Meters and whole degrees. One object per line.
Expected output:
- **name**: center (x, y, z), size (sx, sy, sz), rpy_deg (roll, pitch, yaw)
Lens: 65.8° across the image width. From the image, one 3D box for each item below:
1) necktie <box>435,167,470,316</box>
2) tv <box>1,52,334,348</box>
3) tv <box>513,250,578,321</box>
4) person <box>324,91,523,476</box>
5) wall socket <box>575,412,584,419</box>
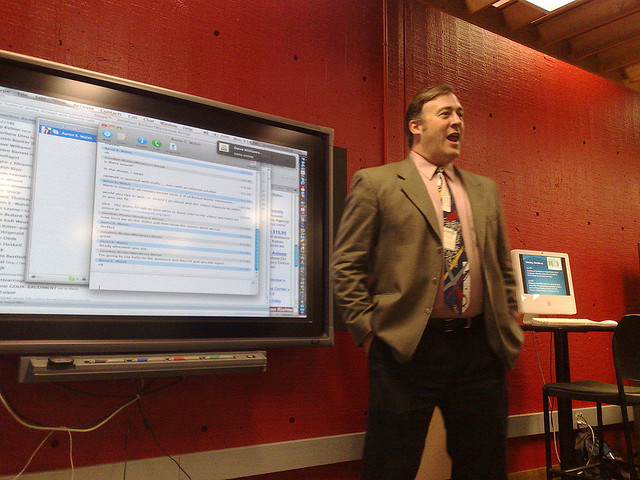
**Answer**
- **necktie**: center (0.548, -0.008, 2.038), size (0.111, 0.620, 0.171), rpy_deg (-3, -7, 13)
- **tv**: center (-0.702, -0.132, 2.174), size (1.573, 0.936, 0.098), rpy_deg (3, -2, -29)
- **tv**: center (1.473, 0.305, 3.269), size (0.467, 0.398, 0.157), rpy_deg (7, -20, -29)
- **person**: center (0.444, 0.116, 2.052), size (0.783, 1.621, 0.296), rpy_deg (0, -7, -10)
- **wall socket**: center (1.769, 1.191, 3.372), size (0.042, 0.039, 0.012), rpy_deg (-15, 3, -10)
